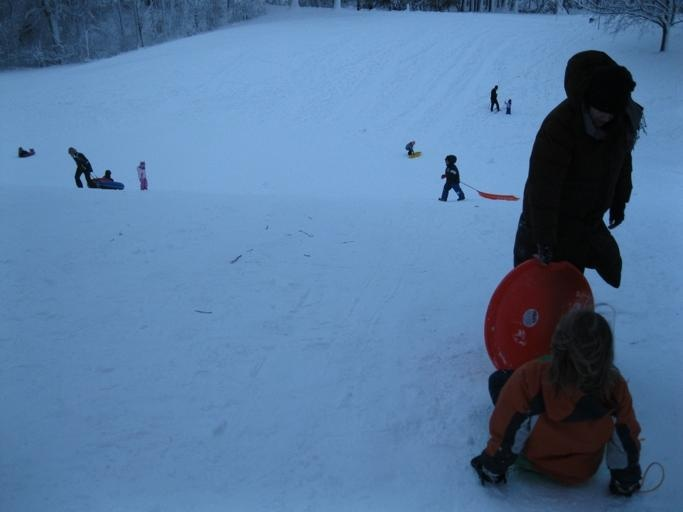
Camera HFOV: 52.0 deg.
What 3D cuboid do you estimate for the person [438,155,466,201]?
[{"bbox_3d":[1.908,-1.386,11.962,0.415,0.839,1.548,3,20,9],"label":"person"}]

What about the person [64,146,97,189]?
[{"bbox_3d":[-4.639,-1.545,12.605,0.352,0.784,0.975,-7,21,-21],"label":"person"}]

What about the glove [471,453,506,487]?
[{"bbox_3d":[1.259,1.875,6.079,0.188,0.333,0.114,-29,14,7],"label":"glove"}]

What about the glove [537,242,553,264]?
[{"bbox_3d":[1.883,-0.024,6.554,0.132,0.181,0.056,-11,-12,-3],"label":"glove"}]

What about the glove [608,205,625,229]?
[{"bbox_3d":[2.760,-0.392,7.014,0.069,0.270,0.173,10,7,-23],"label":"glove"}]

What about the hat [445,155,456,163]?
[{"bbox_3d":[1.788,-1.591,11.526,0.185,0.169,0.235,5,13,8],"label":"hat"}]
